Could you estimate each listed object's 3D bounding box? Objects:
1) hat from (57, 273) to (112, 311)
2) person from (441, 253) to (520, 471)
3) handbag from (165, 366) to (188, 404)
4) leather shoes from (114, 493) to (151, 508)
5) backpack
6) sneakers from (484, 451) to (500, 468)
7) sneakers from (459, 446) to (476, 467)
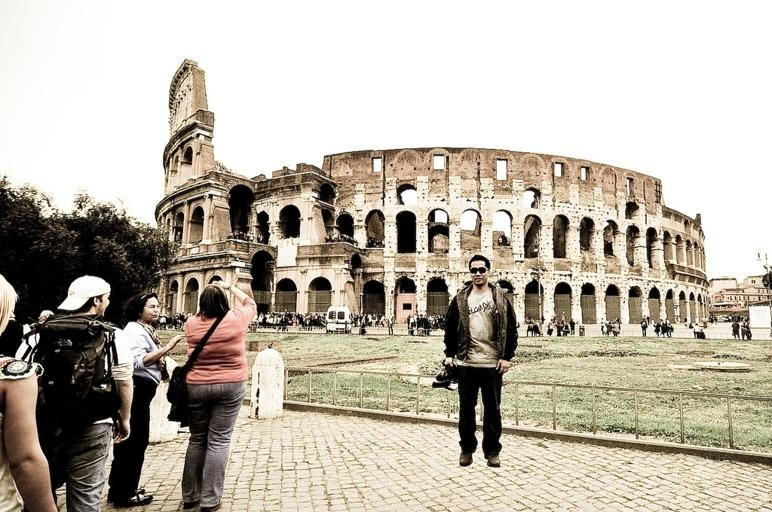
[{"bbox_3d":[-3.212,0.380,6.192,0.322,0.281,0.495,-8,-5,13],"label":"hat"},{"bbox_3d":[1.233,1.375,7.523,0.930,2.794,0.504,-1,-3,12],"label":"person"},{"bbox_3d":[-2.540,1.568,6.984,0.168,0.382,0.299,12,-8,-41],"label":"handbag"},{"bbox_3d":[-3.082,2.992,7.044,0.413,0.156,0.157,0,-11,-10],"label":"leather shoes"},{"bbox_3d":[-3.148,1.003,5.738,0.794,0.776,0.461,4,-7,-38],"label":"backpack"},{"bbox_3d":[1.357,2.604,7.303,0.172,0.193,0.242,0,-3,3],"label":"sneakers"},{"bbox_3d":[1.060,2.614,7.517,0.234,0.282,0.684,-1,-21,8],"label":"sneakers"}]
